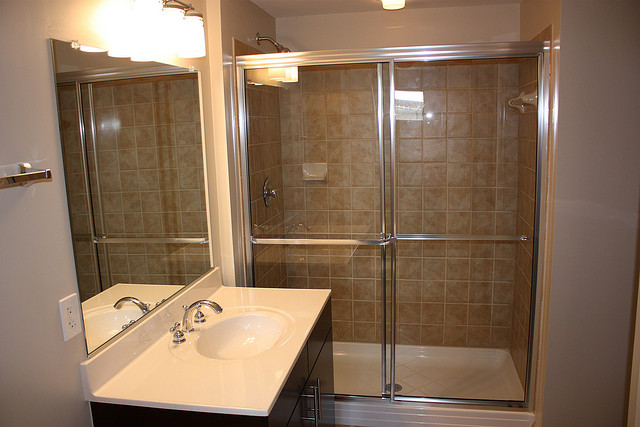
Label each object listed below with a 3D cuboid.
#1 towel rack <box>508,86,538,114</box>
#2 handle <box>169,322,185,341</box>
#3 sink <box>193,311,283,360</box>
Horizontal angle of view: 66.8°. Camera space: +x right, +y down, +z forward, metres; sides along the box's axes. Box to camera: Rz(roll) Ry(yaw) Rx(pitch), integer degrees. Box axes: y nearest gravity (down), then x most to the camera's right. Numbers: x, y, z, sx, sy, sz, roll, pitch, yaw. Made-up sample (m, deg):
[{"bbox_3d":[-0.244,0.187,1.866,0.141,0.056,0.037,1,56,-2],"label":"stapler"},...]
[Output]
[{"bbox_3d":[1.198,-0.652,2.866,0.145,0.042,0.109,-6,-68,27],"label":"towel rack"},{"bbox_3d":[-0.710,0.592,2.442,0.091,0.075,0.112,0,-92,-11],"label":"handle"},{"bbox_3d":[-0.401,0.659,2.454,0.422,0.416,0.169,-3,-78,3],"label":"sink"}]
